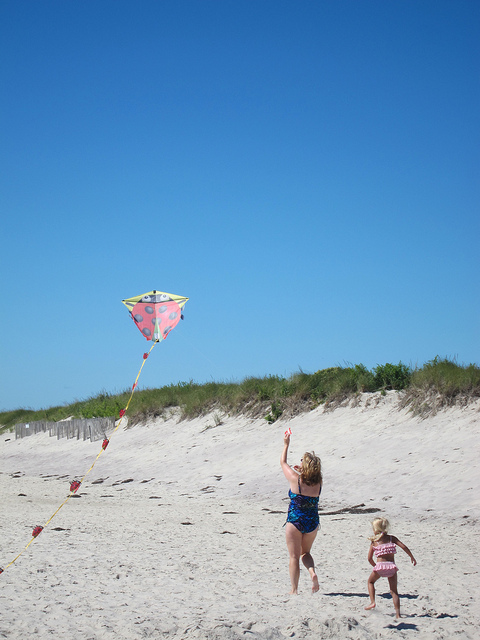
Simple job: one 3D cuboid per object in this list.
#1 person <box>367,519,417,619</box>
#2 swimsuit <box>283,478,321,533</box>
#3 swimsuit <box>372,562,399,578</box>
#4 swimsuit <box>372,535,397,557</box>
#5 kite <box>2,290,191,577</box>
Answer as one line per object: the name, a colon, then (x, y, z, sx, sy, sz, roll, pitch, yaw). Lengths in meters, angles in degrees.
person: (1.315, 2.185, 6.693, 0.418, 0.945, 0.278, -3, 7, 11)
swimsuit: (0.619, 1.624, 6.863, 0.331, 0.655, 0.275, -3, -2, 24)
swimsuit: (1.244, 2.147, 6.560, 0.200, 0.139, 0.138, 2, -8, 10)
swimsuit: (1.255, 1.975, 6.590, 0.221, 0.247, 0.129, -3, -14, 9)
kite: (-1.563, 1.035, 11.174, 1.505, 4.955, 0.885, 22, -19, 24)
